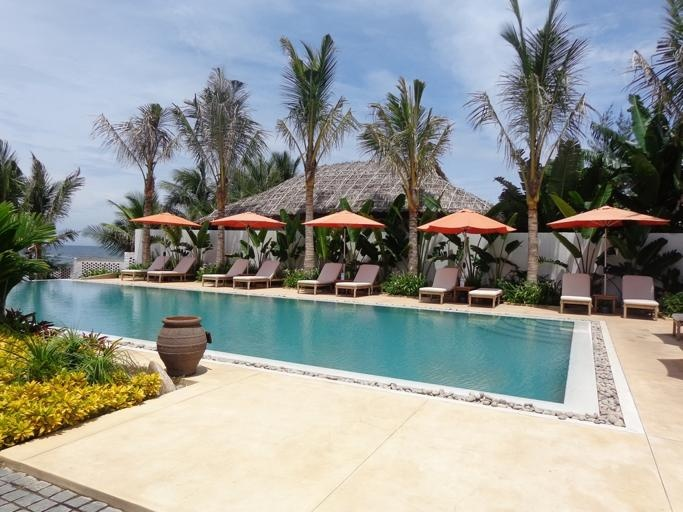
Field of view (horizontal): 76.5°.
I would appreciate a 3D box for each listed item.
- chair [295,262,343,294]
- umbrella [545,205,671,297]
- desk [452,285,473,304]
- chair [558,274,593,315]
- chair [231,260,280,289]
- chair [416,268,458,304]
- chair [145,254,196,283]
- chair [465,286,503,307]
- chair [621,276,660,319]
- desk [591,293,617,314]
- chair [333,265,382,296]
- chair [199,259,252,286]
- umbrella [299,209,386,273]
[{"bbox_3d":[-0.826,0.865,17.502,1.021,1.171,1.789,2,2,36],"label":"chair"},{"bbox_3d":[7.743,-0.168,12.558,2.353,2.598,2.677,3,4,45],"label":"umbrella"},{"bbox_3d":[4.141,1.304,14.894,0.440,0.526,0.826,-1,-1,16],"label":"desk"},{"bbox_3d":[6.917,1.107,12.795,0.830,1.094,1.362,2,1,25],"label":"chair"},{"bbox_3d":[-3.767,0.796,19.081,1.818,1.123,2.230,0,3,4],"label":"chair"},{"bbox_3d":[3.403,0.979,14.966,0.936,1.104,1.552,3,3,32],"label":"chair"},{"bbox_3d":[-8.546,0.607,21.802,1.218,1.194,2.081,-2,-6,37],"label":"chair"},{"bbox_3d":[4.704,1.334,14.121,0.981,0.481,1.716,1,3,22],"label":"chair"},{"bbox_3d":[8.293,1.124,12.096,0.897,1.066,1.268,1,3,37],"label":"chair"},{"bbox_3d":[7.772,1.303,12.827,0.775,0.653,0.792,-1,-6,17],"label":"desk"},{"bbox_3d":[1.087,0.930,16.855,1.691,1.052,1.062,-7,-3,20],"label":"chair"},{"bbox_3d":[-5.261,0.771,20.106,1.188,1.305,2.153,-2,-6,38],"label":"chair"},{"bbox_3d":[0.319,-0.588,16.520,2.256,1.528,2.334,-2,2,-12],"label":"umbrella"}]
